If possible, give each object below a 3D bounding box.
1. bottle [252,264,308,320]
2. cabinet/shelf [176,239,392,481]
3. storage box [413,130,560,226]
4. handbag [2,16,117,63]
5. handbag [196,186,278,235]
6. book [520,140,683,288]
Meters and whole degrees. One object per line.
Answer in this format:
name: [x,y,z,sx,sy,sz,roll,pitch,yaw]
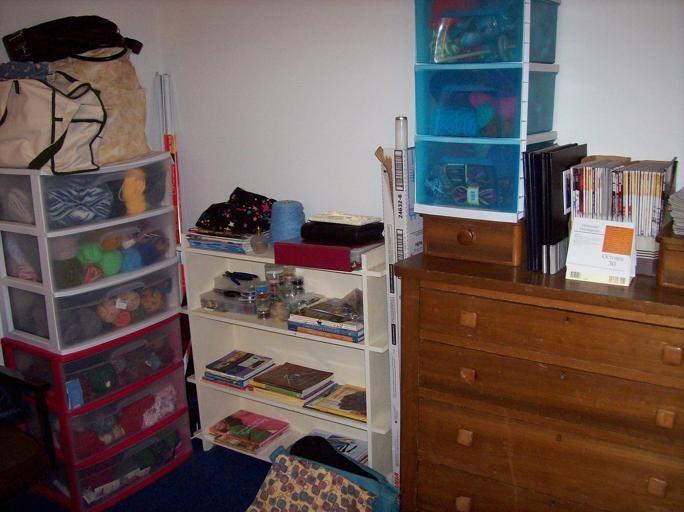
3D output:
bottle: [-0.313,0.191,2.702,0.194,0.286,0.188,2,26,-1]
cabinet/shelf: [-0.285,0.522,2.705,1.120,1.110,0.342,9,16,32]
storage box: [0.372,-0.258,2.256,0.636,0.323,0.651,0,-5,-5]
handbag: [-1.264,-0.956,2.416,0.400,0.118,0.246,-15,24,2]
handbag: [-0.562,-0.224,2.792,0.307,0.108,0.267,6,27,9]
book: [0.938,-0.178,1.979,0.483,0.456,0.405,9,15,31]
